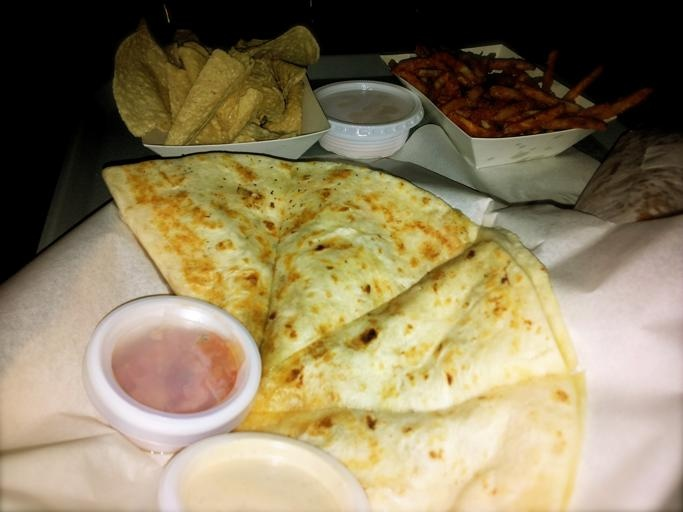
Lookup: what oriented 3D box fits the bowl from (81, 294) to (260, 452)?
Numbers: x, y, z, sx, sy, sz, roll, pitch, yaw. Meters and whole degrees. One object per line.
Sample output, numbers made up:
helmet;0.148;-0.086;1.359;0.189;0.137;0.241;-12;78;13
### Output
bowl;-0.352;0.224;1.173;0.342;0.153;0.311;24;42;-15
